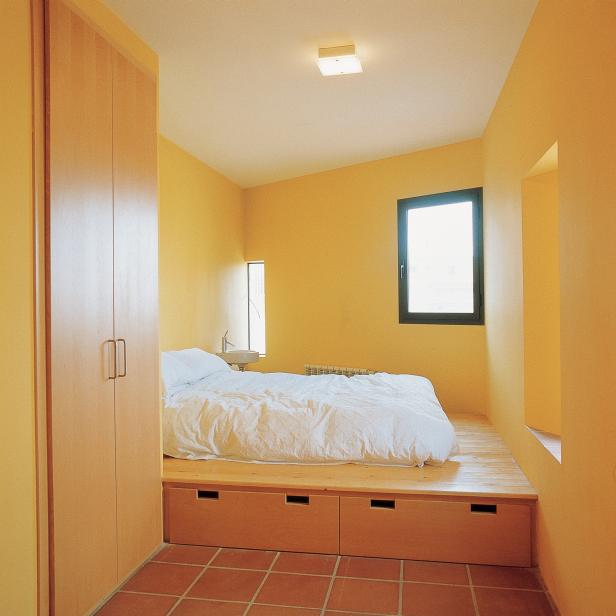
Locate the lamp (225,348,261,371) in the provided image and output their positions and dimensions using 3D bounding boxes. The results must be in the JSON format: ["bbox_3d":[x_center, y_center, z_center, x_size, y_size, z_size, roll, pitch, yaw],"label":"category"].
[{"bbox_3d":[-0.631,0.458,5.233,0.208,0.168,0.227,-1,1,-15],"label":"lamp"}]

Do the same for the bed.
[{"bbox_3d":[0.142,0.773,3.427,2.157,0.608,1.406,1,15,9],"label":"bed"}]
